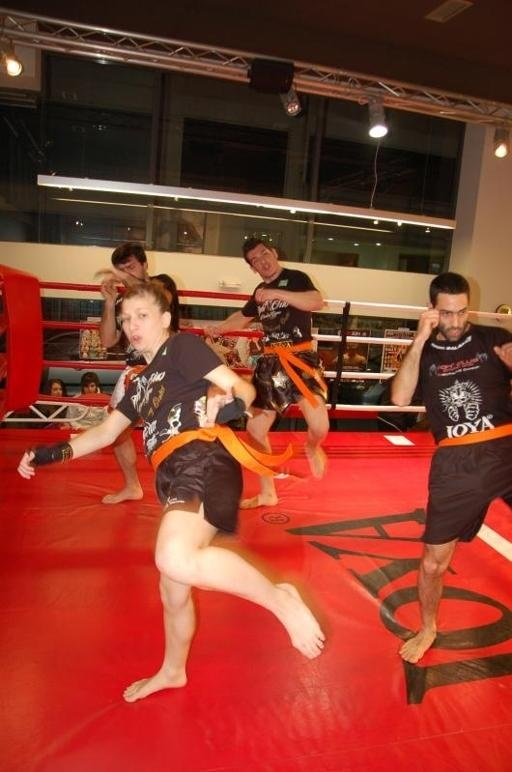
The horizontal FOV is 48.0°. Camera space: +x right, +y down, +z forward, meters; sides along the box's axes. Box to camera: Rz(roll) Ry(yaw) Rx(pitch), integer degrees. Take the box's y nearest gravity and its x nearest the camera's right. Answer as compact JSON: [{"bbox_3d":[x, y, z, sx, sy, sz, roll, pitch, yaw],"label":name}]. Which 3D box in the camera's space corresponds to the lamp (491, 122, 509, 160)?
[{"bbox_3d":[1.921,-1.934,4.513,0.115,0.198,0.233,9,13,16],"label":"lamp"}]

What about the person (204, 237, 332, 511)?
[{"bbox_3d":[0.065,-0.074,3.082,0.686,1.426,0.665,-3,-4,36],"label":"person"}]

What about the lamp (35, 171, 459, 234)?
[{"bbox_3d":[-0.852,-2.311,7.500,3.900,0.141,0.174,-4,51,-32],"label":"lamp"}]

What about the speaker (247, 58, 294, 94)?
[{"bbox_3d":[0.085,-1.892,3.530,0.281,0.181,0.226,1,-6,-9],"label":"speaker"}]

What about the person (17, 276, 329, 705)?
[{"bbox_3d":[-0.279,0.245,1.583,0.849,1.102,0.546,-8,-25,19],"label":"person"}]
